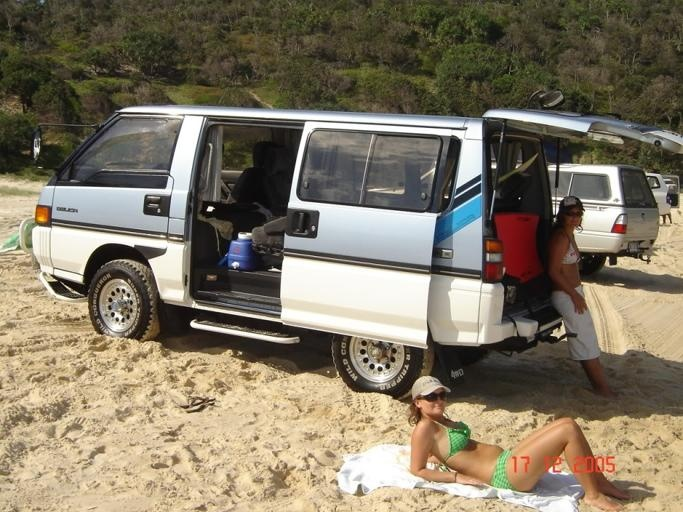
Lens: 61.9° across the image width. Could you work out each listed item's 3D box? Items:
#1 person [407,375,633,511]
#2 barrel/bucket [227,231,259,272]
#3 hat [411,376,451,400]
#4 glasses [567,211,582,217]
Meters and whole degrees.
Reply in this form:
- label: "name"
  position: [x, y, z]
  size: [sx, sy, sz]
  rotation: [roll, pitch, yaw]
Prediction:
- label: "person"
  position: [1.356, 1.431, 4.456]
  size: [1.566, 0.769, 0.803]
  rotation: [-2, 4, 19]
- label: "barrel/bucket"
  position: [-1.116, -0.041, 6.630]
  size: [0.366, 0.358, 0.376]
  rotation: [3, 11, 0]
- label: "hat"
  position: [0.634, 1.045, 4.427]
  size: [0.198, 0.134, 0.261]
  rotation: [-2, -8, -42]
- label: "glasses"
  position: [2.385, -0.439, 5.835]
  size: [0.108, 0.071, 0.169]
  rotation: [3, 10, 5]
